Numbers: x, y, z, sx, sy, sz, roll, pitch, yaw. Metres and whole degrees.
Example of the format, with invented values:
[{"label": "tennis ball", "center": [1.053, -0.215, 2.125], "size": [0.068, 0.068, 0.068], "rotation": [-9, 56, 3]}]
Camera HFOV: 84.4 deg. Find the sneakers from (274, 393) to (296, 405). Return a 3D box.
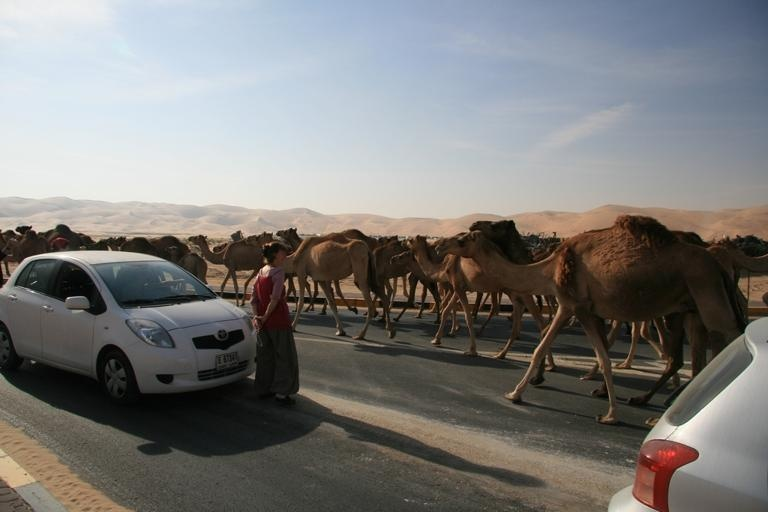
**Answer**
[{"label": "sneakers", "center": [-1.630, 2.322, 6.960], "size": [0.373, 0.133, 0.153], "rotation": [2, 8, 5]}]
